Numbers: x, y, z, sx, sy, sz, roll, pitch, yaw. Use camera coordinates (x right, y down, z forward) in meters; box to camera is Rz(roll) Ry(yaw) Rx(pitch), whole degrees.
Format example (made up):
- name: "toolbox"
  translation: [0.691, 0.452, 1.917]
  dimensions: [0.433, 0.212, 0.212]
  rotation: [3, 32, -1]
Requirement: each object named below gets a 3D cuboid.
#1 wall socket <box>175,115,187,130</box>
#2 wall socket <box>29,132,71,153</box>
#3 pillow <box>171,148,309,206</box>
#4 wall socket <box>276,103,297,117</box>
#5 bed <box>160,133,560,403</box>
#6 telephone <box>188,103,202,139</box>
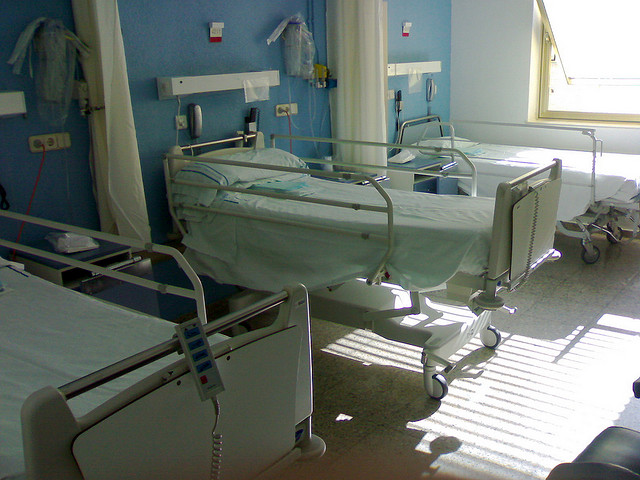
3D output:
- name: "wall socket"
  translation: [-0.977, -0.829, 3.729]
  dimensions: [0.058, 0.081, 0.101]
  rotation: [11, 21, 28]
- name: "wall socket"
  translation: [-1.606, -0.582, 3.170]
  dimensions: [0.232, 0.104, 0.012]
  rotation: [-16, 19, -40]
- name: "pillow"
  translation: [-0.530, -0.476, 3.714]
  dimensions: [0.724, 0.165, 0.434]
  rotation: [-12, 49, -26]
- name: "wall socket"
  translation: [-0.282, -1.086, 4.454]
  dimensions: [0.044, 0.100, 0.238]
  rotation: [7, 17, 34]
- name: "bed"
  translation: [0.231, 0.016, 3.571]
  dimensions: [2.337, 1.033, 1.198]
  rotation: [10, 21, 34]
- name: "telephone"
  translation: [-0.887, -0.845, 3.801]
  dimensions: [0.096, 0.245, 0.135]
  rotation: [-8, 16, -10]
